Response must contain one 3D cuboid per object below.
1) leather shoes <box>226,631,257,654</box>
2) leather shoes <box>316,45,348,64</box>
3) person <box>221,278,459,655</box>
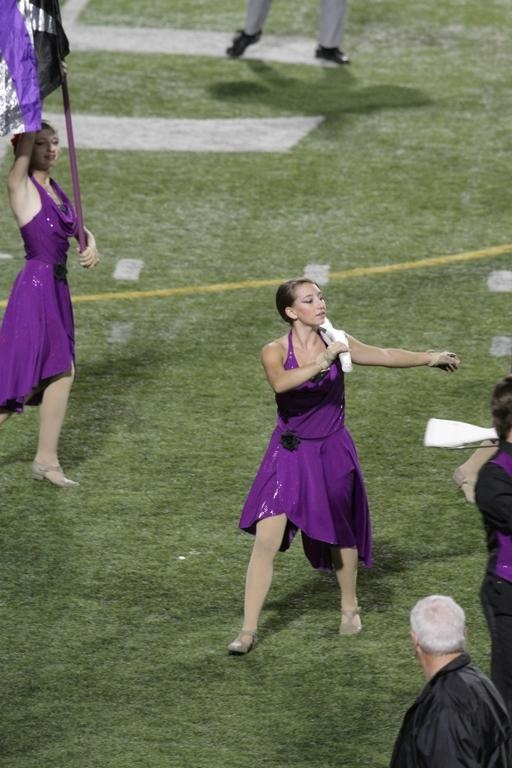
[{"bbox_3d":[-0.051,0.984,3.775,0.063,0.051,0.146,-2,1,18],"label":"leather shoes"},{"bbox_3d":[0.799,-3.461,10.445,0.387,0.221,0.135,2,38,1],"label":"leather shoes"},{"bbox_3d":[0.228,0.310,3.822,0.870,1.407,0.448,-18,28,-42],"label":"person"}]
